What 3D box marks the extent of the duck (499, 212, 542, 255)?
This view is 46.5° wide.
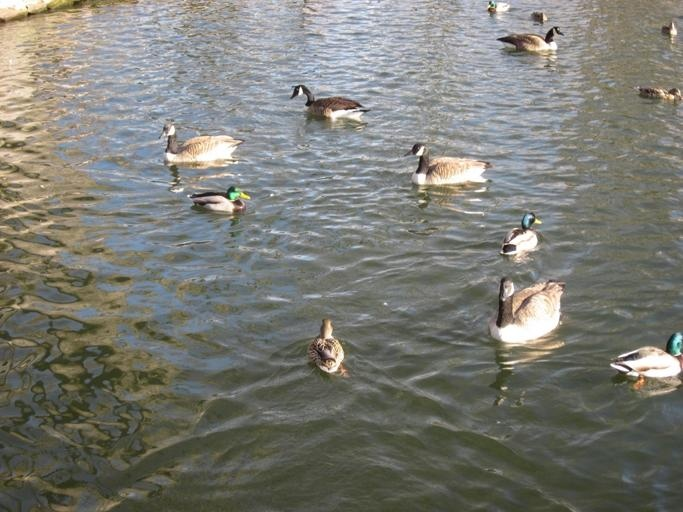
[{"bbox_3d":[5.840,-0.756,25.574,1.122,1.130,1.753,7,29,15],"label":"duck"}]

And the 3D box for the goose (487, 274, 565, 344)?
[{"bbox_3d":[5.251,1.392,22.110,1.469,1.792,2.243,18,36,29],"label":"goose"}]

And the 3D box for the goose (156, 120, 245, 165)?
[{"bbox_3d":[-5.500,-4.327,30.590,2.767,1.770,0.766,-6,36,-6],"label":"goose"}]

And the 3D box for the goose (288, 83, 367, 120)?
[{"bbox_3d":[-0.614,-6.795,35.276,4.582,1.747,1.270,6,27,19],"label":"goose"}]
